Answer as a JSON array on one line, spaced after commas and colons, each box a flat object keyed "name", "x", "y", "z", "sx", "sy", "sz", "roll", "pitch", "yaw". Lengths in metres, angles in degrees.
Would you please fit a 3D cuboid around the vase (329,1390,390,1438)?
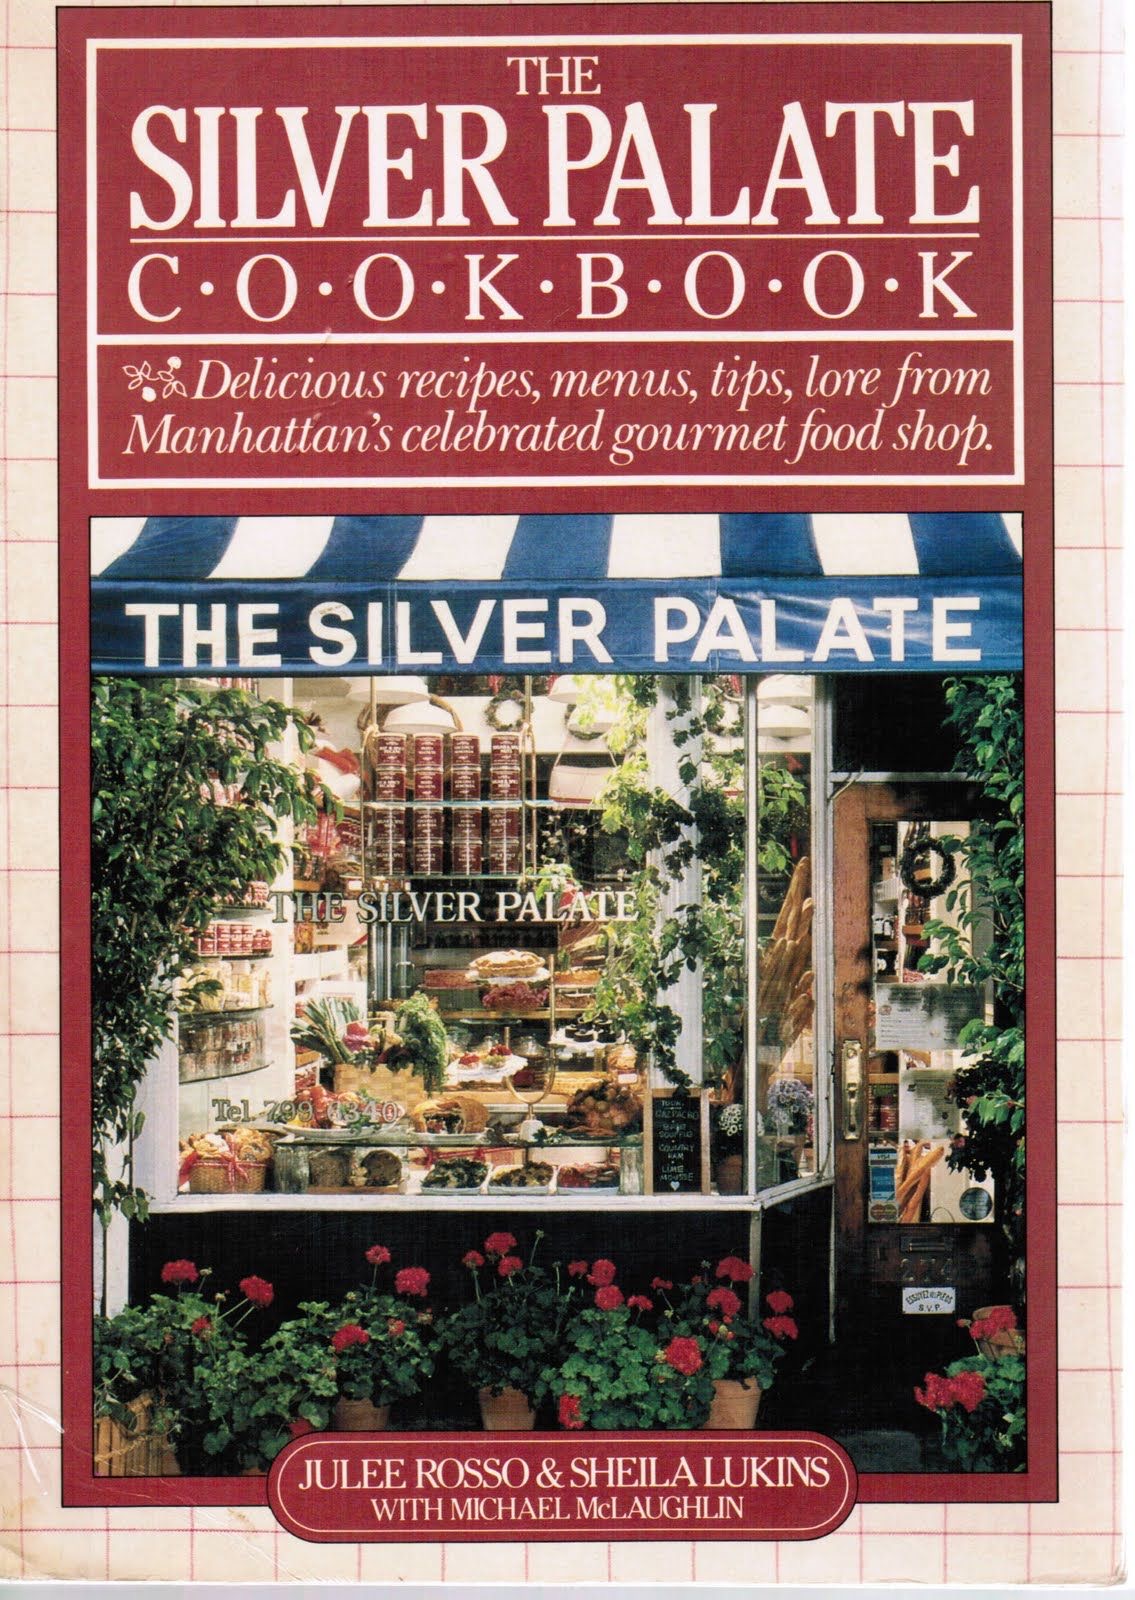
[{"name": "vase", "x": -0.594, "y": 1.755, "z": 5.915, "sx": 0.119, "sy": 0.079, "sz": 0.109, "roll": -3, "pitch": -13, "yaw": 20}]

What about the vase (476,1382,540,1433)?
[{"name": "vase", "x": -0.177, "y": 1.739, "z": 5.946, "sx": 0.127, "sy": 0.089, "sz": 0.126, "roll": 1, "pitch": -10, "yaw": 5}]

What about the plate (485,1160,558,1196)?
[{"name": "plate", "x": -0.142, "y": 1.099, "z": 6.034, "sx": 0.190, "sy": 0.088, "sz": 0.036, "roll": -1, "pitch": -4, "yaw": 2}]

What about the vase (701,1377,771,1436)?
[{"name": "vase", "x": 0.476, "y": 1.721, "z": 5.901, "sx": 0.139, "sy": 0.098, "sz": 0.136, "roll": 1, "pitch": -19, "yaw": -2}]

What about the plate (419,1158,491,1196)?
[{"name": "plate", "x": -0.333, "y": 1.090, "z": 6.036, "sx": 0.190, "sy": 0.098, "sz": 0.023, "roll": -1, "pitch": -5, "yaw": 1}]
